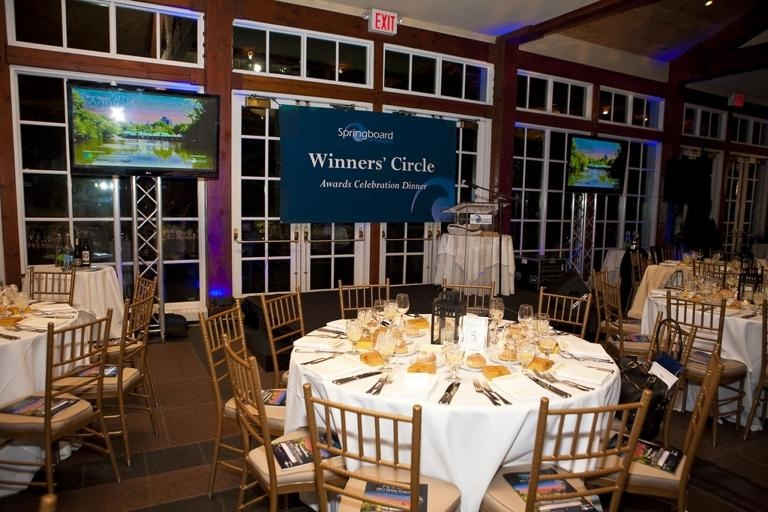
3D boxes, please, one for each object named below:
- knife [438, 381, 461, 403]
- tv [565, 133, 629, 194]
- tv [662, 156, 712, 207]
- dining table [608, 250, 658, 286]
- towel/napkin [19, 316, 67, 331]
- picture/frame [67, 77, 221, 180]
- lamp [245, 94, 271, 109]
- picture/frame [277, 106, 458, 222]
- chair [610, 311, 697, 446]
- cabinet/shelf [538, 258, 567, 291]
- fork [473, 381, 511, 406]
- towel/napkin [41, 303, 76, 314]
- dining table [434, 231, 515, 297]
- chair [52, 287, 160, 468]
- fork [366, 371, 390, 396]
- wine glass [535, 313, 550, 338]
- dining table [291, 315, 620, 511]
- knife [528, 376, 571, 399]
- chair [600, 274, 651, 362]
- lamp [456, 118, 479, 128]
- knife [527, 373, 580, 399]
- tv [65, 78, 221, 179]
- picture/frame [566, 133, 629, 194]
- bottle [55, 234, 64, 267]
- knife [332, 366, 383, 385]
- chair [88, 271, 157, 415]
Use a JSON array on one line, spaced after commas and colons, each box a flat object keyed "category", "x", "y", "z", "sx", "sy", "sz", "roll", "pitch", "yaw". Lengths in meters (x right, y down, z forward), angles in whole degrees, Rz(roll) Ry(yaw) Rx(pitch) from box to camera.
[{"category": "knife", "x": 0.455, "y": 0.933, "z": 3.577, "sx": 0.064, "sy": 0.020, "sz": 0.237, "roll": 1, "pitch": 17, "yaw": 20}, {"category": "tv", "x": 4.147, "y": -1.752, "z": 9.915, "sx": 0.126, "sy": 1.103, "sz": 1.519, "roll": -12, "pitch": 19, "yaw": -23}, {"category": "tv", "x": 6.287, "y": -1.546, "z": 10.432, "sx": 0.514, "sy": 0.887, "sz": 0.940, "roll": -11, "pitch": 14, "yaw": -22}, {"category": "dining table", "x": 4.694, "y": 0.265, "z": 9.864, "sx": 0.685, "sy": 0.712, "sz": 0.832, "roll": -4, "pitch": 0, "yaw": 27}, {"category": "towel/napkin", "x": -3.023, "y": 0.593, "z": 4.523, "sx": 0.268, "sy": 0.041, "sz": 0.281, "roll": 4, "pitch": 6, "yaw": -6}, {"category": "picture/frame", "x": -3.155, "y": -1.606, "z": 6.563, "sx": 1.464, "sy": 0.847, "sz": 0.149, "roll": 1, "pitch": 3, "yaw": -20}, {"category": "lamp", "x": -1.830, "y": -2.234, "z": 7.412, "sx": 0.382, "sy": 0.195, "sz": 0.170, "roll": -3, "pitch": 3, "yaw": -16}, {"category": "picture/frame", "x": -0.227, "y": -1.328, "z": 8.035, "sx": 2.887, "sy": 1.652, "sz": 0.008, "roll": -1, "pitch": 6, "yaw": -19}, {"category": "chair", "x": 2.191, "y": 0.980, "z": 4.254, "sx": 0.575, "sy": 0.857, "sz": 0.626, "roll": -12, "pitch": 12, "yaw": 5}, {"category": "cabinet/shelf", "x": 2.999, "y": 0.504, "z": 8.932, "sx": 0.462, "sy": 0.821, "sz": 0.632, "roll": -2, "pitch": -10, "yaw": 30}, {"category": "fork", "x": 0.739, "y": 0.962, "z": 3.587, "sx": 0.088, "sy": 0.045, "sz": 0.324, "roll": -1, "pitch": 14, "yaw": -12}, {"category": "towel/napkin", "x": -3.137, "y": 0.504, "z": 4.881, "sx": 0.199, "sy": 0.052, "sz": 0.192, "roll": 3, "pitch": 5, "yaw": -21}, {"category": "dining table", "x": 1.400, "y": 0.089, "z": 8.150, "sx": 1.130, "sy": 0.746, "sz": 1.107, "roll": 1, "pitch": -2, "yaw": -4}, {"category": "chair", "x": -2.679, "y": 1.085, "z": 4.783, "sx": 0.944, "sy": 1.314, "sz": 0.880, "roll": 1, "pitch": 9, "yaw": 15}, {"category": "fork", "x": -0.034, "y": 0.907, "z": 3.673, "sx": 0.067, "sy": 0.032, "sz": 0.222, "roll": 5, "pitch": 16, "yaw": 16}, {"category": "wine glass", "x": 1.244, "y": 0.560, "z": 4.097, "sx": 0.152, "sy": 0.170, "sz": 0.159, "roll": -1, "pitch": 0, "yaw": 3}, {"category": "dining table", "x": 0.491, "y": 1.150, "z": 3.616, "sx": 1.526, "sy": 0.547, "sz": 1.478, "roll": 0, "pitch": 3, "yaw": 0}, {"category": "knife", "x": 1.186, "y": 0.938, "z": 3.656, "sx": 0.084, "sy": 0.023, "sz": 0.310, "roll": -1, "pitch": 9, "yaw": -15}, {"category": "chair", "x": 2.890, "y": 0.747, "z": 6.118, "sx": 0.654, "sy": 1.061, "sz": 0.602, "roll": -3, "pitch": 21, "yaw": 6}, {"category": "lamp", "x": 1.428, "y": -2.258, "z": 8.779, "sx": 0.231, "sy": 0.092, "sz": 0.216, "roll": -1, "pitch": 3, "yaw": -31}, {"category": "knife", "x": 1.179, "y": 0.933, "z": 3.670, "sx": 0.093, "sy": 0.025, "sz": 0.339, "roll": -13, "pitch": 16, "yaw": -27}, {"category": "tv", "x": -3.166, "y": -1.606, "z": 6.558, "sx": 1.432, "sy": 0.830, "sz": 0.144, "roll": 1, "pitch": 3, "yaw": -20}, {"category": "picture/frame", "x": 4.158, "y": -1.743, "z": 9.920, "sx": 0.119, "sy": 1.111, "sz": 1.550, "roll": -13, "pitch": 19, "yaw": -22}, {"category": "bottle", "x": -4.098, "y": -0.082, "z": 6.442, "sx": 0.104, "sy": 0.416, "sz": 0.537, "roll": -5, "pitch": 4, "yaw": -32}, {"category": "knife", "x": -0.211, "y": 0.885, "z": 3.743, "sx": 0.479, "sy": 0.020, "sz": 0.112, "roll": -7, "pitch": 25, "yaw": -21}, {"category": "chair", "x": -2.569, "y": 0.841, "z": 4.935, "sx": 0.685, "sy": 0.987, "sz": 0.604, "roll": -7, "pitch": 17, "yaw": -38}]
